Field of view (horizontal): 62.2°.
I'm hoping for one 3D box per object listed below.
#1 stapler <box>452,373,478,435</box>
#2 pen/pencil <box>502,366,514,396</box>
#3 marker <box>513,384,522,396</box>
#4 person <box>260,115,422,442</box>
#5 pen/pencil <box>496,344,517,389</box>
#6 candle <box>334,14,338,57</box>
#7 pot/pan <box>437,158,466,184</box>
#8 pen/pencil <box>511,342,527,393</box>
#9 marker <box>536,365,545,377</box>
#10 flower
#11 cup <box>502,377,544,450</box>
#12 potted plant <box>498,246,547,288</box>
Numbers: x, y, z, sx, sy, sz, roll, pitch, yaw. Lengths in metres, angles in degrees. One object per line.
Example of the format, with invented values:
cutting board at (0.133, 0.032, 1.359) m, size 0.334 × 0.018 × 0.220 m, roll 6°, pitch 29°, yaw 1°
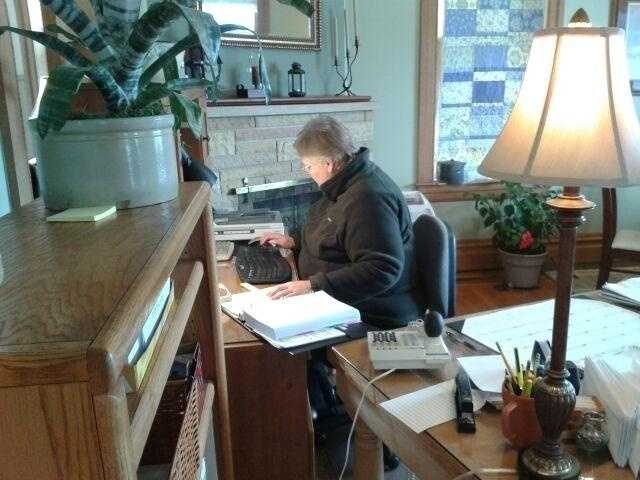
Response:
stapler at (0.329, 0.378, 1.221) m, size 0.032 × 0.043 × 0.127 m, roll -2°, pitch 18°, yaw 6°
pen/pencil at (0.403, 0.307, 1.143) m, size 0.012 × 0.011 × 0.053 m, roll -4°, pitch 20°, yaw 11°
marker at (0.420, 0.318, 1.133) m, size 0.018 × 0.018 × 0.016 m, roll -1°, pitch 20°, yaw 26°
person at (0.141, 0.059, 3.027) m, size 1.017 × 1.979 × 1.095 m, roll 0°, pitch -1°, yaw -1°
pen/pencil at (0.444, 0.305, 1.273) m, size 0.014 × 0.114 × 0.015 m, roll -7°, pitch -11°, yaw -33°
candle at (0.102, -1.370, 3.554) m, size 0.039 × 0.271 × 0.086 m, roll -1°, pitch 16°, yaw 6°
pot/pan at (1.003, -0.537, 4.036) m, size 0.180 × 0.182 × 0.180 m, roll -6°, pitch 13°, yaw -23°
pen/pencil at (0.437, 0.289, 1.154) m, size 0.022 × 0.015 × 0.139 m, roll 11°, pitch 57°, yaw 4°
marker at (0.460, 0.275, 1.115) m, size 0.012 × 0.024 × 0.013 m, roll -12°, pitch 23°, yaw -5°
flower at (1.513, -0.138, 3.812) m, size 0.494 × 0.546 × 0.436 m, roll 7°, pitch 0°, yaw -13°
cup at (0.408, 0.371, 1.105) m, size 0.121 × 0.113 × 0.075 m, roll -8°, pitch 11°, yaw -43°
potted plant at (1.446, 0.187, 3.822) m, size 0.285 × 0.216 × 0.272 m, roll 6°, pitch 11°, yaw 33°
